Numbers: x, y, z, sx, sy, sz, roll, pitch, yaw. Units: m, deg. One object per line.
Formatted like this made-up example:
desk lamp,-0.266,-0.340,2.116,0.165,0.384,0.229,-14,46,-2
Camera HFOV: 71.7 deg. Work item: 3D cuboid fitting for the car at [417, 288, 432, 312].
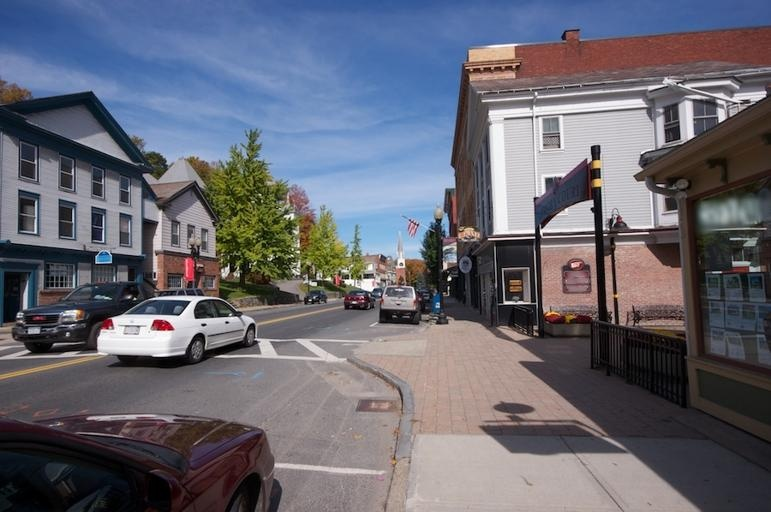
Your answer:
car,3.007,3.433,41.202,1.260,1.157,2.596,-1,4,6

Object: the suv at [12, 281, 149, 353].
suv,-8.778,1.809,15.993,1.934,1.378,3.575,-3,-7,13

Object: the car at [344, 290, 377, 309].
car,-1.809,3.301,37.765,1.617,1.368,3.603,0,5,6

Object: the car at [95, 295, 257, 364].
car,-5.212,1.895,14.061,1.477,1.656,3.624,3,6,30

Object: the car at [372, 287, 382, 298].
car,-0.863,3.783,54.430,0.930,0.699,1.552,-2,-9,2

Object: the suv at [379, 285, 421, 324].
suv,0.657,2.389,25.378,1.902,1.747,0.950,0,6,8
